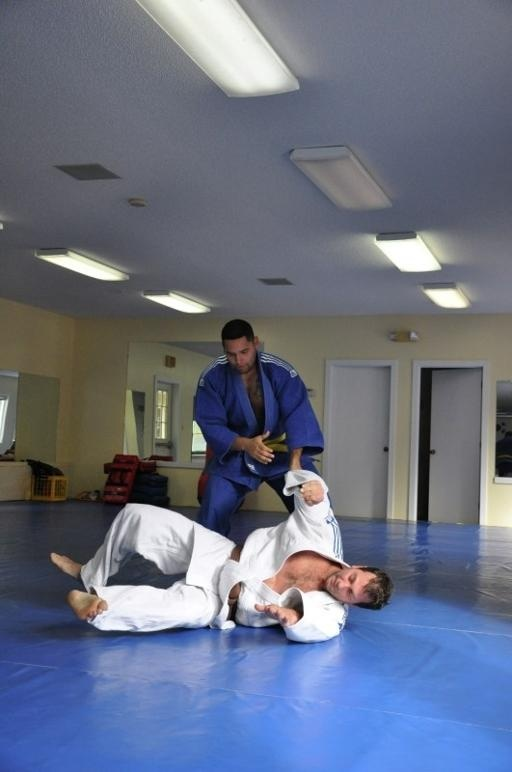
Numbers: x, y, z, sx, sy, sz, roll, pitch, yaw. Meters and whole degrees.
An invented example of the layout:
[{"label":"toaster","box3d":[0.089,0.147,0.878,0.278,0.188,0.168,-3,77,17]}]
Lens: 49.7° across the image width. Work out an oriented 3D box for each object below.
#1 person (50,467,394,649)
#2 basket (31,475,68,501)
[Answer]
[{"label":"person","box3d":[-0.070,0.753,2.290,0.960,0.432,0.836,2,15,-10]},{"label":"basket","box3d":[-3.275,1.580,8.678,0.431,0.390,0.419,3,-7,-31]}]
